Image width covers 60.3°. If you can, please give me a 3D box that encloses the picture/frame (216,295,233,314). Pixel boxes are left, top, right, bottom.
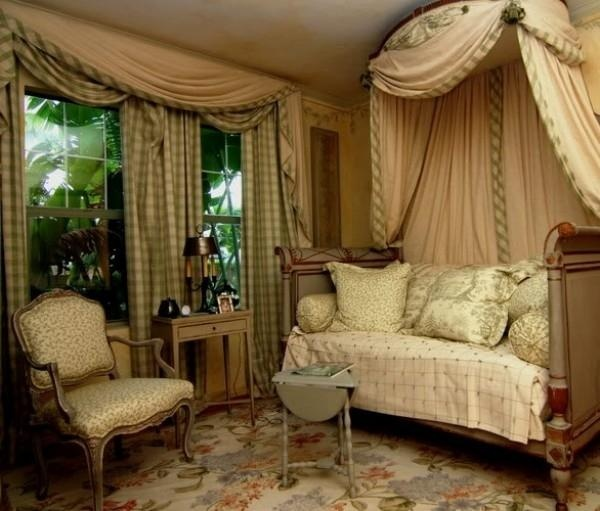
[{"bbox_3d":[-0.585,0.372,3.946,0.124,0.118,0.021,-6,-10,-46],"label":"picture/frame"}]

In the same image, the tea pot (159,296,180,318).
[{"bbox_3d":[-0.958,0.372,3.809,0.136,0.128,0.135,-1,-11,0],"label":"tea pot"}]

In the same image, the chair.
[{"bbox_3d":[-1.164,0.777,3.077,0.900,1.139,0.744,1,6,39],"label":"chair"}]
